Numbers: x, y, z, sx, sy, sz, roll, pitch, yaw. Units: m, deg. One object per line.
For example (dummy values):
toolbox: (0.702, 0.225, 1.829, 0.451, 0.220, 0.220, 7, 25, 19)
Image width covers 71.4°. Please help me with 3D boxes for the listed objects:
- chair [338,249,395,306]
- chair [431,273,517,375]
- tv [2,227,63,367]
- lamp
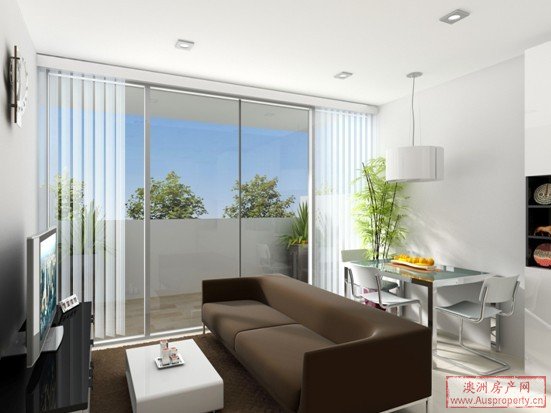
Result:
chair: (1.187, 1.003, 5.814, 0.778, 0.992, 0.744, 0, -2, -23)
chair: (2.285, 1.242, 4.390, 0.721, 1.087, 0.858, 5, 8, 33)
tv: (-2.044, 0.773, 3.182, 0.320, 0.743, 1.055, 1, 2, -22)
lamp: (1.936, -1.014, 5.225, 0.747, 1.471, 1.197, 5, 8, 31)
